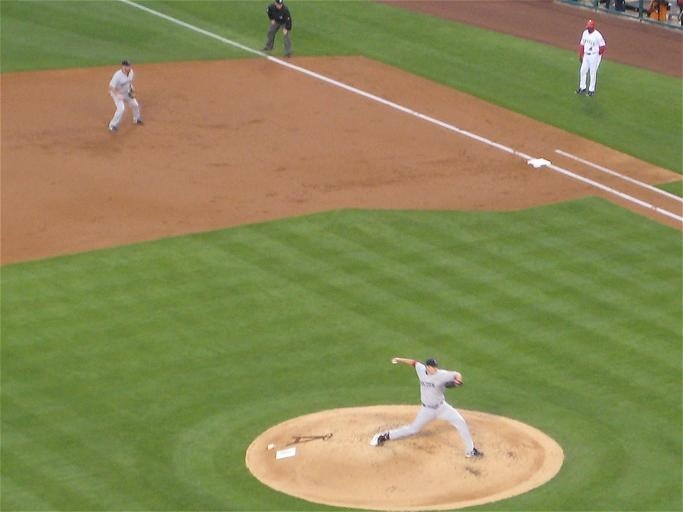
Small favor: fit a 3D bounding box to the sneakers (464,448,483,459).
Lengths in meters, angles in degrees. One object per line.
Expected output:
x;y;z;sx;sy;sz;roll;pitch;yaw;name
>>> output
2.619;3.897;24.745;0.251;0.103;0.192;-2;9;-30;sneakers
